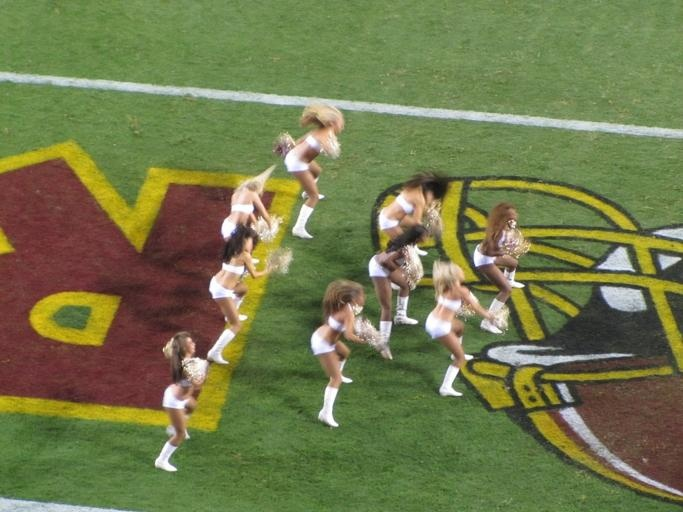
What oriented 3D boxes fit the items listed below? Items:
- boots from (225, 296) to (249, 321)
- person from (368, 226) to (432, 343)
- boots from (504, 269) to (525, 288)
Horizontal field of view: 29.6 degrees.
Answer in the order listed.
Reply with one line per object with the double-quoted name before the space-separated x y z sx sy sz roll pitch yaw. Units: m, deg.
"boots" -1.830 0.978 24.214 0.619 0.471 0.183 7 67 -10
"person" 1.118 0.627 24.348 1.624 2.534 0.978 -4 48 1
"boots" 3.366 0.457 25.111 0.559 0.356 0.147 6 75 11
